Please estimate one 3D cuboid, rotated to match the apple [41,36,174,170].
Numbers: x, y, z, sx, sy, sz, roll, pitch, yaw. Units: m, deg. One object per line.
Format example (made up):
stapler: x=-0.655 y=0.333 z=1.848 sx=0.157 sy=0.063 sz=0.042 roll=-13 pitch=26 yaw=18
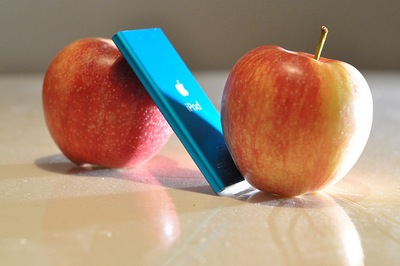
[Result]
apple: x=-0.431 y=-0.100 z=1.679 sx=0.444 sy=0.404 sz=0.450 roll=-37 pitch=58 yaw=-21
